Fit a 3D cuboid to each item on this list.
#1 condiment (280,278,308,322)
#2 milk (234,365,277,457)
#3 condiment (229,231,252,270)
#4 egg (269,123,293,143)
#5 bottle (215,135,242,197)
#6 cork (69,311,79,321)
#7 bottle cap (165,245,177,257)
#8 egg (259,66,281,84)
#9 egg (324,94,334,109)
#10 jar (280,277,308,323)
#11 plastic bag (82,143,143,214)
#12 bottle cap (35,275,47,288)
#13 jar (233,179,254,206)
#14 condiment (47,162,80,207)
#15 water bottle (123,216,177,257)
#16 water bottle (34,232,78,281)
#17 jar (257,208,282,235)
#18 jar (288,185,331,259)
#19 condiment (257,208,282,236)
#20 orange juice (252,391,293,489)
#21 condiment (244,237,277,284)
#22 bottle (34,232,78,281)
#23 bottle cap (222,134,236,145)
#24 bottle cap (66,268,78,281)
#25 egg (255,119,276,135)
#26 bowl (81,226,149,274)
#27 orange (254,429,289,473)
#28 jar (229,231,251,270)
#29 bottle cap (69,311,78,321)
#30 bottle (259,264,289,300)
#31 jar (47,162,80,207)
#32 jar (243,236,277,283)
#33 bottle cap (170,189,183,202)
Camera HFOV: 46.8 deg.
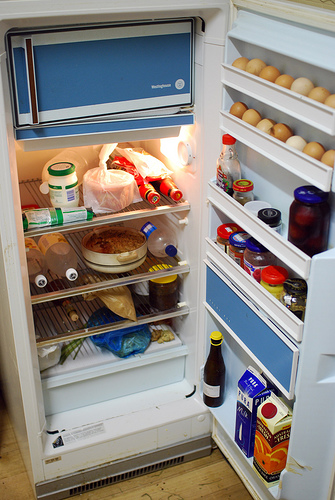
[{"bbox_3d":[0.284,0.112,0.874,0.054,0.079,0.065,3,20,17],"label":"condiment"},{"bbox_3d":[0.265,0.508,1.200,0.102,0.244,0.105,5,4,9],"label":"milk"},{"bbox_3d":[0.212,0.020,1.100,0.064,0.107,0.062,3,10,12],"label":"condiment"},{"bbox_3d":[0.239,-0.245,0.810,0.040,0.041,0.048,-12,27,-19],"label":"egg"},{"bbox_3d":[0.172,-0.239,1.088,0.077,0.164,0.152,1,19,10],"label":"bottle"},{"bbox_3d":[-0.342,0.237,1.414,0.032,0.033,0.036,9,9,-30],"label":"cork"},{"bbox_3d":[0.012,0.002,1.451,0.032,0.032,0.036,-11,18,-14],"label":"bottle cap"},{"bbox_3d":[0.219,-0.373,0.827,0.043,0.034,0.042,2,20,13],"label":"egg"},{"bbox_3d":[0.271,-0.246,0.647,0.014,0.019,0.031,5,21,21],"label":"egg"},{"bbox_3d":[0.298,0.121,0.875,0.062,0.096,0.058,-14,23,6],"label":"jar"},{"bbox_3d":[-0.206,-0.273,1.367,0.179,0.232,0.216,8,32,8],"label":"plastic bag"},{"bbox_3d":[-0.413,0.102,1.268,0.033,0.034,0.032,-4,17,-23],"label":"bottle cap"},{"bbox_3d":[0.208,-0.157,1.051,0.056,0.062,0.086,1,20,12],"label":"jar"},{"bbox_3d":[-0.346,-0.209,1.297,0.102,0.156,0.104,1,29,0],"label":"condiment"},{"bbox_3d":[-0.064,-0.041,1.559,0.231,0.108,0.104,34,-5,-35],"label":"water bottle"},{"bbox_3d":[-0.407,0.029,1.396,0.109,0.110,0.283,-8,35,-31],"label":"water bottle"},{"bbox_3d":[0.228,-0.071,0.901,0.053,0.052,0.056,-1,39,0],"label":"jar"},{"bbox_3d":[0.287,-0.054,0.776,0.073,0.133,0.073,-2,19,1],"label":"jar"},{"bbox_3d":[0.229,-0.061,0.870,0.044,0.042,0.045,-2,42,0],"label":"condiment"},{"bbox_3d":[0.297,0.549,1.109,0.086,0.281,0.144,-4,19,-5],"label":"orange juice"},{"bbox_3d":[0.233,0.028,0.960,0.076,0.132,0.078,-7,31,-4],"label":"condiment"},{"bbox_3d":[-0.407,0.030,1.396,0.110,0.111,0.277,-9,34,-32],"label":"bottle"},{"bbox_3d":[0.160,-0.290,1.024,0.043,0.028,0.042,6,21,23],"label":"bottle cap"},{"bbox_3d":[-0.323,0.083,1.310,0.035,0.036,0.033,-4,16,-19],"label":"bottle cap"},{"bbox_3d":[0.219,-0.276,0.863,0.045,0.040,0.039,-2,61,9],"label":"egg"},{"bbox_3d":[-0.187,-0.003,1.403,0.173,0.073,0.207,-10,32,-16],"label":"bowl"},{"bbox_3d":[0.289,0.571,1.096,0.098,0.139,0.076,6,20,24],"label":"orange"},{"bbox_3d":[0.200,0.004,1.056,0.055,0.092,0.058,-2,37,1],"label":"jar"},{"bbox_3d":[-0.345,0.241,1.420,0.031,0.032,0.035,3,13,-26],"label":"bottle cap"},{"bbox_3d":[0.254,0.088,0.944,0.064,0.070,0.065,-11,27,-31],"label":"bottle"},{"bbox_3d":[-0.346,-0.209,1.292,0.095,0.147,0.097,1,30,0],"label":"jar"},{"bbox_3d":[0.232,0.027,0.960,0.076,0.131,0.079,-4,34,3],"label":"jar"},{"bbox_3d":[0.031,-0.187,1.329,0.040,0.037,0.061,19,0,-6],"label":"bottle cap"}]
